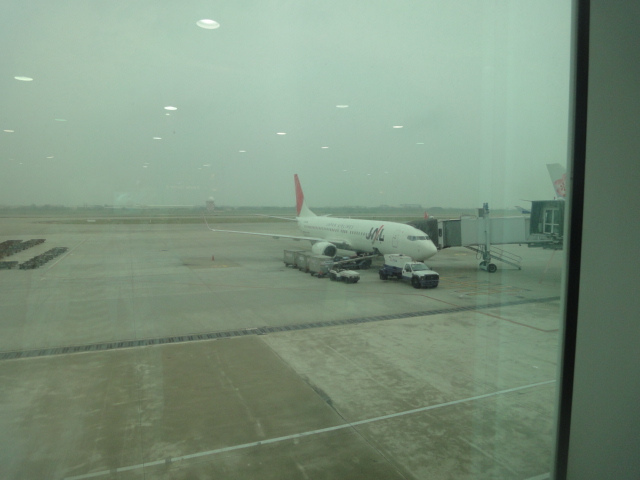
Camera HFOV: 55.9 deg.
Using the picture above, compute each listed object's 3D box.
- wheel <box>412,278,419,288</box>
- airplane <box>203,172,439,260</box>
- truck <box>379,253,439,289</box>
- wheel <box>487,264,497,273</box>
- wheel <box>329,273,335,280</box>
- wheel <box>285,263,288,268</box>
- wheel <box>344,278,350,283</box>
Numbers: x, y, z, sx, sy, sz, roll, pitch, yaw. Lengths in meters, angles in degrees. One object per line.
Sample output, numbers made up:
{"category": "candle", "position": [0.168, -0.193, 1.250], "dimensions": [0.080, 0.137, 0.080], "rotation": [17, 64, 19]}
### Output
{"category": "wheel", "position": [3.712, 1.654, 23.308], "dimensions": [0.117, 0.333, 0.327], "rotation": [3, 9, -7]}
{"category": "airplane", "position": [0.115, -1.246, 31.844], "dimensions": [7.942, 3.983, 15.956], "rotation": [0, 9, -15]}
{"category": "truck", "position": [3.615, 1.233, 24.743], "dimensions": [1.094, 1.149, 2.892], "rotation": [-3, 8, -30]}
{"category": "wheel", "position": [3.274, 0.530, 11.479], "dimensions": [0.183, 0.186, 0.064], "rotation": [-5, 6, -31]}
{"category": "wheel", "position": [0.566, 1.534, 25.471], "dimensions": [0.296, 0.135, 0.403], "rotation": [1, 1, 0]}
{"category": "wheel", "position": [-1.607, 1.260, 30.169], "dimensions": [0.166, 0.157, 0.280], "rotation": [-2, -11, -10]}
{"category": "wheel", "position": [1.140, 1.643, 24.667], "dimensions": [0.155, 0.151, 0.266], "rotation": [-1, -5, -23]}
